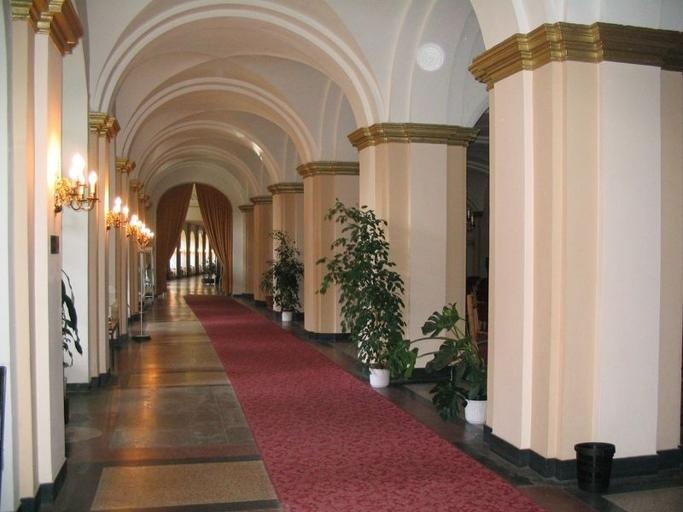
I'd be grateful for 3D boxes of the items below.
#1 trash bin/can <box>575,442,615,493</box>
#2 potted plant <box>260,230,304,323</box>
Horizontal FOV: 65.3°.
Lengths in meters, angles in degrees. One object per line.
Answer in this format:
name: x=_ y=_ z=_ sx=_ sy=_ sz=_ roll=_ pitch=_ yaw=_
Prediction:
trash bin/can: x=1.910 y=1.645 z=4.188 sx=0.310 sy=0.379 sz=0.318 roll=1 pitch=-9 yaw=4
potted plant: x=-1.483 y=0.440 z=14.466 sx=0.871 sy=2.251 sz=0.802 roll=0 pitch=0 yaw=-10
